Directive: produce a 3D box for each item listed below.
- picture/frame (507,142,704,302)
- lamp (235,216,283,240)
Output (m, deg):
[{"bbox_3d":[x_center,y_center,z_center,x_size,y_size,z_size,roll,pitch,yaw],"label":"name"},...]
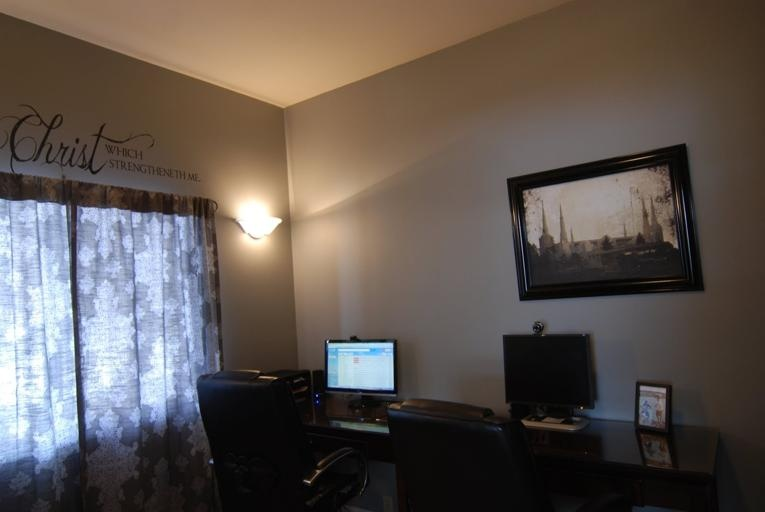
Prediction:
[{"bbox_3d":[1.565,-0.223,3.777,1.050,0.890,0.076,-6,-2,28],"label":"picture/frame"},{"bbox_3d":[-1.010,-0.236,4.812,0.206,0.182,0.479,-8,-7,43],"label":"lamp"}]
